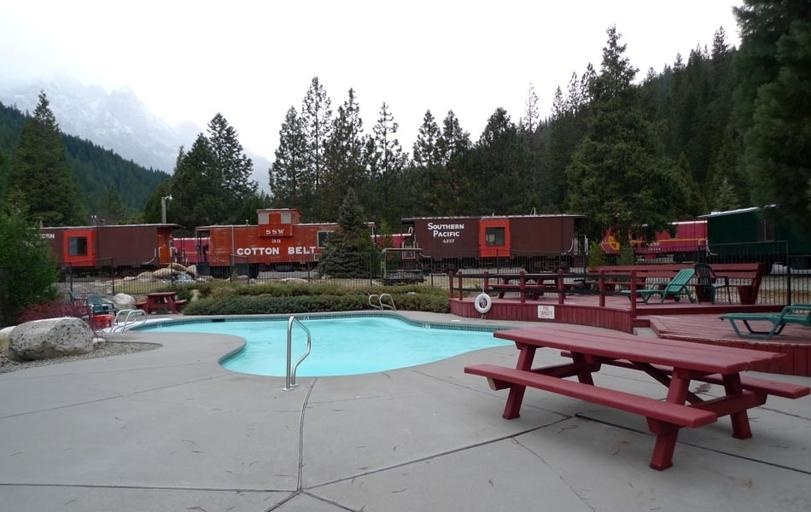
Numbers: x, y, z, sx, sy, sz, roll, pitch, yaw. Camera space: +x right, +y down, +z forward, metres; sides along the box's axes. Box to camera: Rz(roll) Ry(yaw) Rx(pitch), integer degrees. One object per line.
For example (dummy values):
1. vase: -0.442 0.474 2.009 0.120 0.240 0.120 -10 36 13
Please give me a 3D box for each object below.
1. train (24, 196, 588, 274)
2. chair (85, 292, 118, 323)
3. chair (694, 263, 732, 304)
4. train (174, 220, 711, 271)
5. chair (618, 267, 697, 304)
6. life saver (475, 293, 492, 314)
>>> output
1. train: -4.520 -0.627 29.330 25.211 3.304 3.419 -1 9 7
2. chair: -8.735 1.533 16.776 0.538 1.029 0.573 -5 -5 -5
3. chair: 7.203 0.698 13.894 0.594 1.128 1.724 3 10 27
4. train: 2.160 -0.477 28.565 21.717 3.642 2.612 0 0 9
5. chair: 6.575 0.797 15.155 1.642 0.824 0.844 -1 -3 0
6. life saver: 2.061 1.314 15.646 0.501 0.557 0.358 1 10 19
